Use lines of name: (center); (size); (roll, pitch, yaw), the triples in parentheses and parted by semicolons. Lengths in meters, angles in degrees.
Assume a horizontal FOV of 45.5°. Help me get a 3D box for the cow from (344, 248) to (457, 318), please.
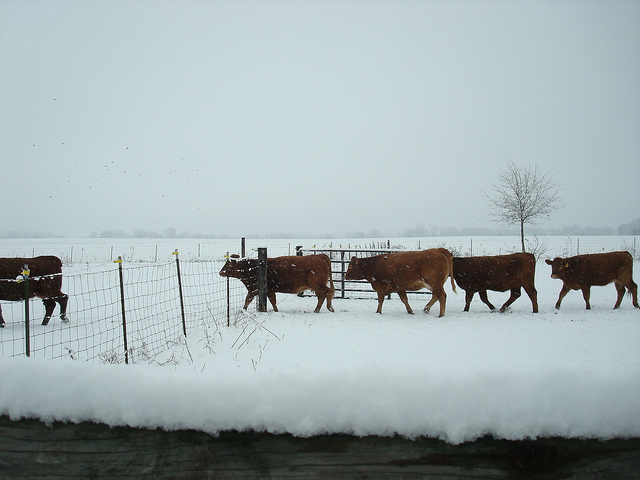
cow: (1.324, 0.776, 13.431); (1.924, 1.405, 0.588); (-1, 10, 18)

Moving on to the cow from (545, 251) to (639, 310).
cow: (4.704, 0.648, 13.077); (1.695, 1.492, 0.705); (0, -5, 19)
